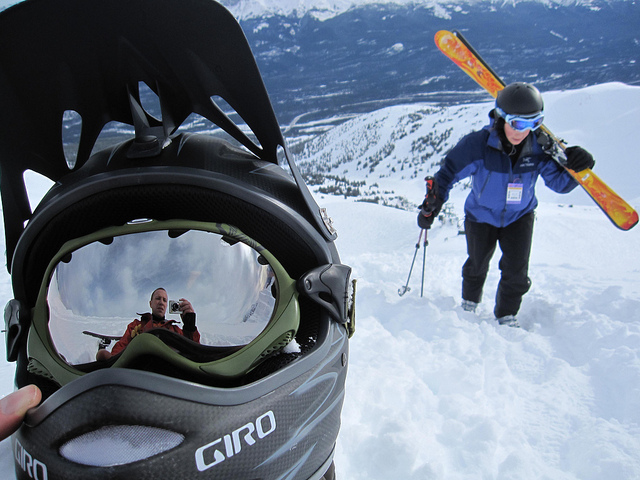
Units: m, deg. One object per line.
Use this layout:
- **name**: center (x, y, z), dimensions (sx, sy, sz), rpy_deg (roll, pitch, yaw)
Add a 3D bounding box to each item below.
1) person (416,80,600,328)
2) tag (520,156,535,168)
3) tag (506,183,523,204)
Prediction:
- **person**: center (1.485, -0.267, 4.013), dimensions (1.089, 1.962, 0.696), rpy_deg (22, 40, 32)
- **tag**: center (1.570, -0.596, 3.699), dimensions (0.066, 0.102, 0.049), rpy_deg (0, -3, 4)
- **tag**: center (1.484, -0.362, 3.723), dimensions (0.119, 0.187, 0.022), rpy_deg (5, 5, 4)
